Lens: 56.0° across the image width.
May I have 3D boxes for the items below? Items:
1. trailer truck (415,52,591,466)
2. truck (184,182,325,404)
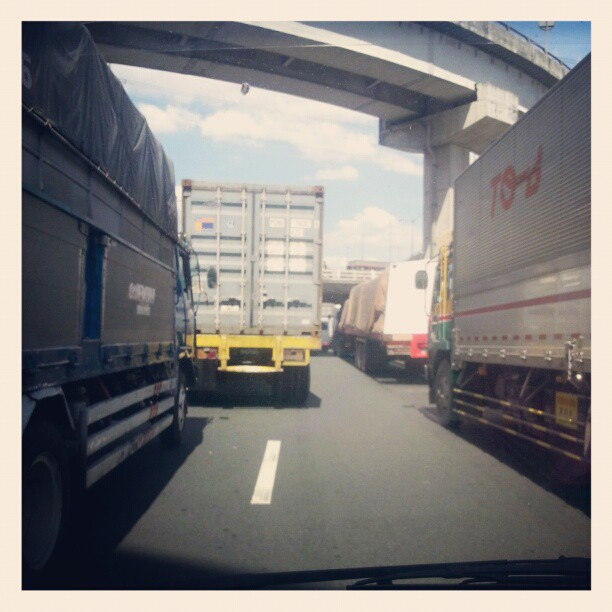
[{"bbox_3d":[2.344,-0.303,6.686,0.541,3.760,3.895,0,0,-7],"label":"trailer truck"},{"bbox_3d":[-0.949,-0.493,12.666,1.629,3.502,4.191,1,0,-2],"label":"truck"}]
